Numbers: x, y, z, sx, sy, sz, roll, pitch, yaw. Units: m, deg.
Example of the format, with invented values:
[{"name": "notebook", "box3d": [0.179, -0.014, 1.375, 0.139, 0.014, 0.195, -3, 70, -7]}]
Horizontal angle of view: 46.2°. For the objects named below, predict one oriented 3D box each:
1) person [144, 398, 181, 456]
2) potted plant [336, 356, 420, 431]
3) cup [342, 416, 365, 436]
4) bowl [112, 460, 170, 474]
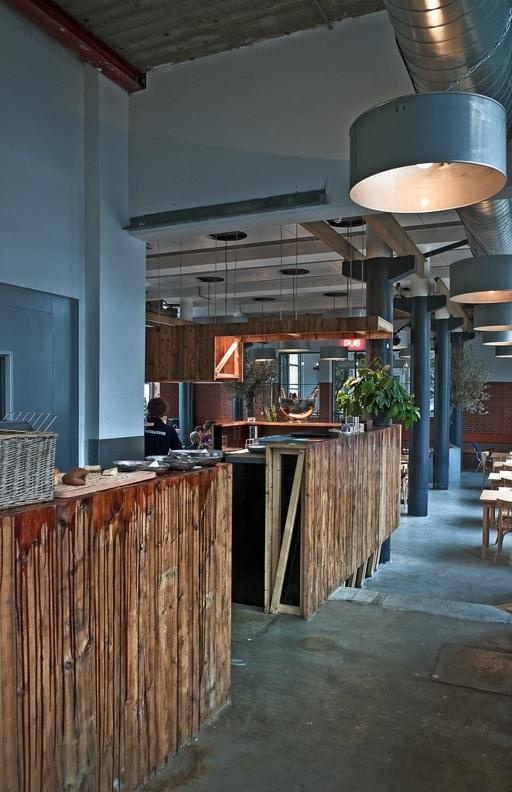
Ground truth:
[{"name": "person", "box3d": [-0.953, 0.305, 6.158, 0.355, 0.612, 0.868, 2, -4, -10]}, {"name": "potted plant", "box3d": [1.283, -0.046, 6.746, 0.871, 0.737, 0.931, 3, -4, -9]}, {"name": "cup", "box3d": [0.979, 0.314, 6.168, 0.153, 0.261, 0.251, -5, -10, 42]}, {"name": "bowl", "box3d": [-0.426, 0.273, 2.342, 0.172, 0.052, 0.213, -1, -5, 31]}]
